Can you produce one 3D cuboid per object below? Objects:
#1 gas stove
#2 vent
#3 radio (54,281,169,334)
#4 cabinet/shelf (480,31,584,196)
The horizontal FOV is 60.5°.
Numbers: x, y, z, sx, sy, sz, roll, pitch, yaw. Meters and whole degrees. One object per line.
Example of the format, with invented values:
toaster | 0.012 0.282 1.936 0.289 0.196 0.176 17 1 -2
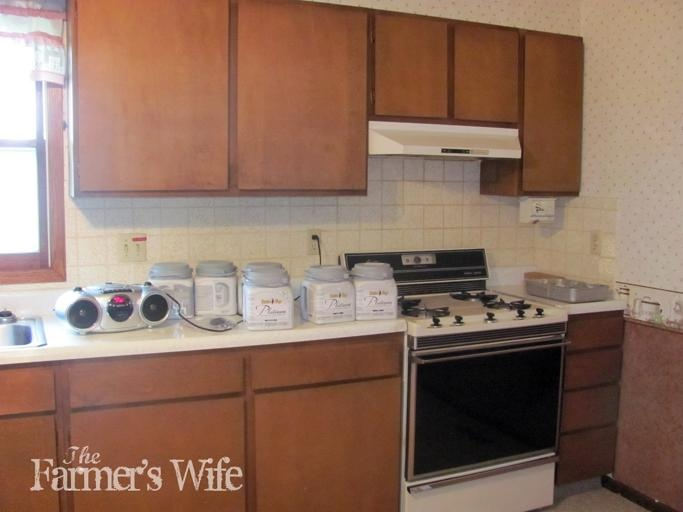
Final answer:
gas stove | 0.678 0.222 3.373 0.938 0.122 0.829 -1 7 -20
vent | 0.585 -0.628 3.223 0.822 0.164 0.400 2 8 -3
radio | -1.105 0.203 2.867 0.542 0.212 0.487 -2 5 -34
cabinet/shelf | 1.133 -0.787 3.667 0.566 1.036 0.413 -1 5 -18
